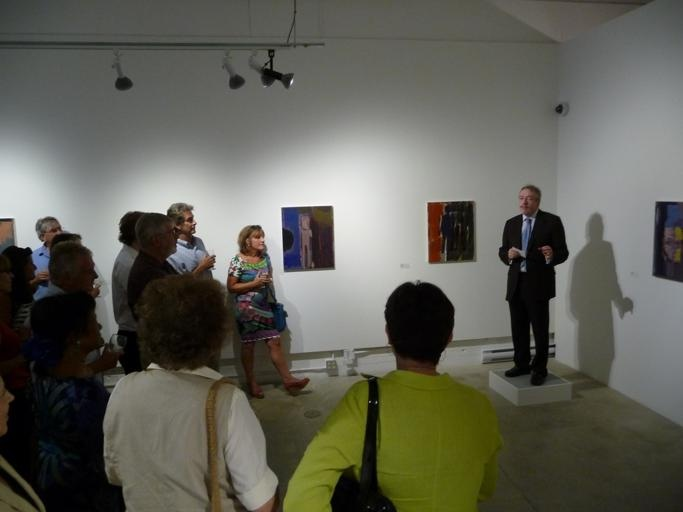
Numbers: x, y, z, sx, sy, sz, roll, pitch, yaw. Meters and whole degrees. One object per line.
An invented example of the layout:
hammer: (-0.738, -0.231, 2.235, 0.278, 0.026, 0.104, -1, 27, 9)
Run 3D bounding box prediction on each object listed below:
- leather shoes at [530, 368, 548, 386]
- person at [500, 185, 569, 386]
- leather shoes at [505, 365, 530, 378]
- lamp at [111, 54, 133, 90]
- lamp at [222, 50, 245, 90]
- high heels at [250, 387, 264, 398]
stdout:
leather shoes: (2.157, 1.323, 5.461, 0.184, 0.131, 0.192, 0, 13, 7)
person: (2.077, 0.303, 5.528, 0.706, 2.120, 0.513, 6, 13, 31)
leather shoes: (2.028, 1.315, 5.744, 0.323, 0.155, 0.120, 1, 0, -6)
lamp: (-2.412, -2.046, 5.489, 0.201, 0.409, 0.544, -6, 14, -22)
lamp: (-1.208, -2.091, 5.577, 0.252, 0.398, 0.718, -4, 14, -12)
high heels: (-0.967, 1.565, 5.741, 0.147, 0.120, 0.083, -3, 3, 30)
